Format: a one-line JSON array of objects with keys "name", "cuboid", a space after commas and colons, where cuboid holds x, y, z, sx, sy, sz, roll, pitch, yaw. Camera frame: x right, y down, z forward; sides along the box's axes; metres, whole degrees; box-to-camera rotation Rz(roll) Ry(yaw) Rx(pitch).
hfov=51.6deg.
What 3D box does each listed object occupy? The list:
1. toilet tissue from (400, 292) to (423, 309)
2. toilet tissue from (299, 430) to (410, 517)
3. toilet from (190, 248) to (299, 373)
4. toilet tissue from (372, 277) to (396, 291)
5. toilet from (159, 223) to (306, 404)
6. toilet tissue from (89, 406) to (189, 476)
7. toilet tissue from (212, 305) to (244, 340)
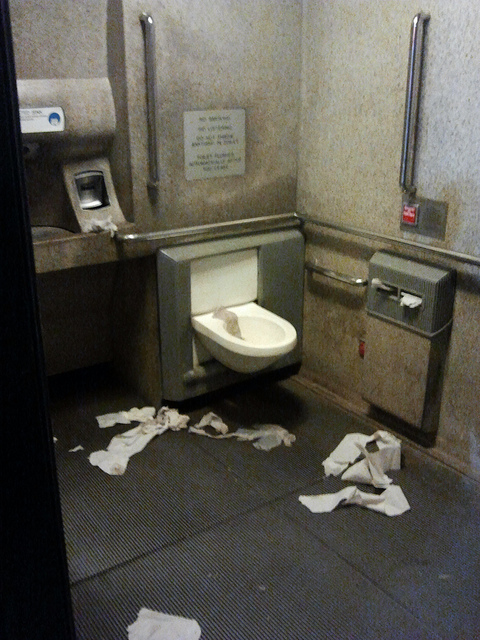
[{"name": "toilet tissue", "cuboid": [0.688, -0.078, 2.000, 0.037, 0.056, 0.104, -19, 32, -40]}, {"name": "toilet tissue", "cuboid": [0.517, 0.644, 2.089, 0.230, 0.118, 0.339, 0, 28, 20]}, {"name": "toilet", "cuboid": [0.007, -0.021, 2.308, 0.371, 0.762, 0.481, -10, 17, -33]}, {"name": "toilet tissue", "cuboid": [0.613, -0.143, 2.125, 0.022, 0.061, 0.117, -15, 29, -35]}, {"name": "toilet", "cuboid": [0.016, 0.044, 2.355, 0.780, 0.834, 0.408, -7, 22, -17]}, {"name": "toilet tissue", "cuboid": [-0.486, 0.555, 2.371, 0.173, 0.127, 0.467, 13, 22, 28]}, {"name": "toilet tissue", "cuboid": [-0.062, 0.013, 2.371, 0.102, 0.135, 0.161, -19, 31, -39]}]
